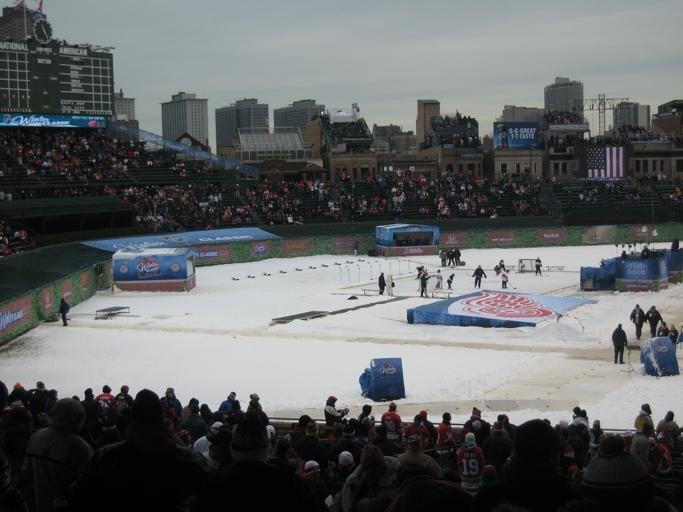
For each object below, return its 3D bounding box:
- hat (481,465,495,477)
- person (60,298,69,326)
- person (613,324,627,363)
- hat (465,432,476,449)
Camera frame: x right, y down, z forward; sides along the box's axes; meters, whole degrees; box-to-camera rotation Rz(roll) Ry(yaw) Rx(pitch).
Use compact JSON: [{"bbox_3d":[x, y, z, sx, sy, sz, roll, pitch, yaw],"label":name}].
[{"bbox_3d":[3.995,5.870,28.424,0.339,0.269,0.254,-6,1,23],"label":"hat"},{"bbox_3d":[-13.174,2.678,50.110,0.322,1.226,1.506,-5,5,-16],"label":"person"},{"bbox_3d":[11.582,3.652,43.900,0.535,1.511,1.411,-2,5,14],"label":"person"},{"bbox_3d":[3.543,5.127,28.924,0.417,0.412,0.334,-1,-6,-1],"label":"hat"}]
